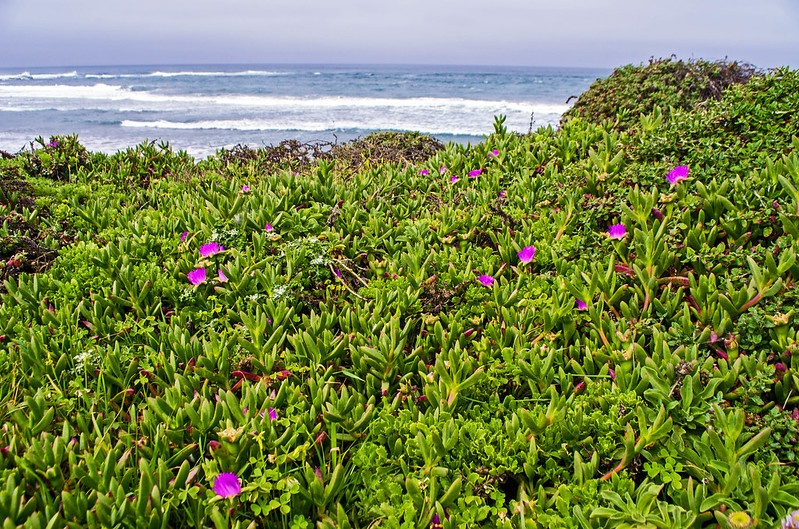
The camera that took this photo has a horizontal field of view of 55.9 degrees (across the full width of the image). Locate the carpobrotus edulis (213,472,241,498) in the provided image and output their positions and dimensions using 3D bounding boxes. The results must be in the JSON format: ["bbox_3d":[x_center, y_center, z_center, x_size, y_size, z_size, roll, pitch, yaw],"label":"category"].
[{"bbox_3d":[-1.019,1.303,4.499,0.150,0.139,0.119,18,3,18],"label":"carpobrotus edulis"}]
